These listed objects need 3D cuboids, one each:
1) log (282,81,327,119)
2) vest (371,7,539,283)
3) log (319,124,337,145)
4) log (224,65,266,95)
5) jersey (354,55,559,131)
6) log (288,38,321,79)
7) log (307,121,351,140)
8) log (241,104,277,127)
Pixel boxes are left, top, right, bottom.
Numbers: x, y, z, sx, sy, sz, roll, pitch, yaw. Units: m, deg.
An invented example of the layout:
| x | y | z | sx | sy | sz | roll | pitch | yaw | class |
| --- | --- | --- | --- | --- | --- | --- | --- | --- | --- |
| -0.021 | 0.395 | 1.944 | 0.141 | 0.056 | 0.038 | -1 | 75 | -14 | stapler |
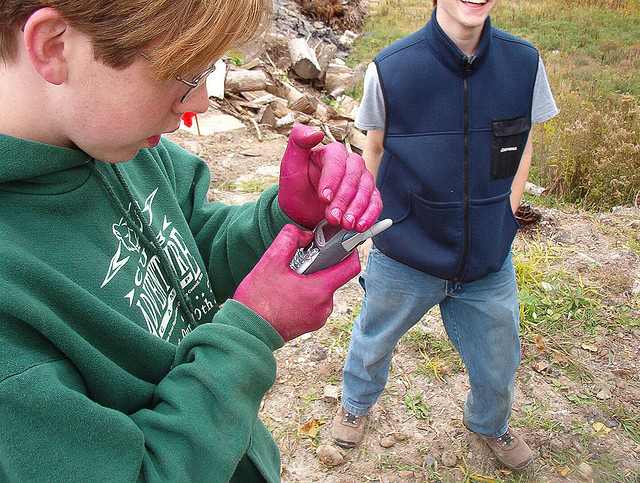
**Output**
| x | y | z | sx | sy | sz | roll | pitch | yaw | class |
| --- | --- | --- | --- | --- | --- | --- | --- | --- | --- |
| -0.192 | -2.038 | 7.626 | 0.667 | 0.528 | 0.546 | 21 | 31 | 28 | log |
| 0.602 | -0.447 | 2.462 | 0.774 | 1.169 | 0.581 | 1 | 23 | 7 | vest |
| 0.097 | -1.432 | 6.999 | 0.176 | 0.203 | 0.478 | -2 | 30 | -9 | log |
| -1.024 | -2.147 | 7.090 | 0.566 | 0.209 | 0.348 | 9 | 69 | -22 | log |
| 0.531 | -0.637 | 2.345 | 0.856 | 0.380 | 0.521 | -4 | 23 | -22 | jersey |
| -0.263 | -3.014 | 8.734 | 0.526 | 0.621 | 0.561 | -3 | 30 | -12 | log |
| 0.189 | -1.497 | 7.155 | 0.458 | 0.169 | 0.435 | 5 | 28 | -33 | log |
| -0.758 | -1.590 | 6.604 | 0.359 | 0.145 | 0.349 | 29 | 11 | -49 | log |
